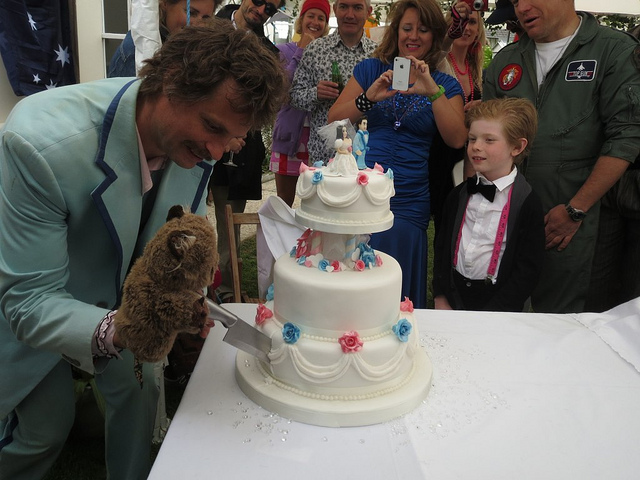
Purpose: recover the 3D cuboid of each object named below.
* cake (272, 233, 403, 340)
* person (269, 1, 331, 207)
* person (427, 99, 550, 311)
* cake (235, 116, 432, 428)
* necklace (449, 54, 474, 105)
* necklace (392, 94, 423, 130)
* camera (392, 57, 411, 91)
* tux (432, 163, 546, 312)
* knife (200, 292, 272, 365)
[{"bbox_3d":[0.092,0.130,2.709,0.557,0.394,0.599,1,12,-2],"label":"cake"},{"bbox_3d":[-0.237,-1.449,5.308,0.535,2.552,0.565,-2,23,-14],"label":"person"},{"bbox_3d":[1.347,-0.200,3.924,0.836,1.950,0.839,10,21,20],"label":"person"},{"bbox_3d":[0.084,0.196,2.790,1.027,1.683,1.275,1,17,0],"label":"cake"},{"bbox_3d":[1.499,-1.657,5.002,0.268,0.423,0.129,6,4,1],"label":"necklace"},{"bbox_3d":[0.679,-1.086,4.120,0.235,0.261,0.068,18,-3,22],"label":"necklace"},{"bbox_3d":[0.654,-1.350,3.869,0.132,0.237,0.194,4,28,9],"label":"camera"},{"bbox_3d":[1.262,0.097,3.802,0.577,1.256,0.834,-7,17,-39],"label":"tux"},{"bbox_3d":[-0.437,0.480,2.501,0.069,0.715,0.173,-3,54,37],"label":"knife"}]
